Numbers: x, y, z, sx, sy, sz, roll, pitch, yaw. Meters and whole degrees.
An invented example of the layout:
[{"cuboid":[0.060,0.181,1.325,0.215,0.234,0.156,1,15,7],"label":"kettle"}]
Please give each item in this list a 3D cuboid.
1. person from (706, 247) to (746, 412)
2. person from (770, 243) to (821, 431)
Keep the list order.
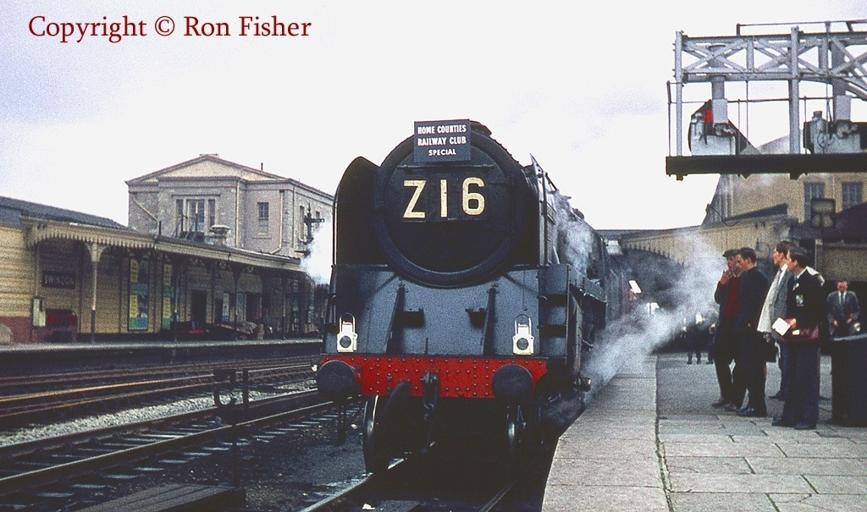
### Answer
[{"cuboid":[5.650,1.411,15.134,0.773,3.099,0.782,6,8,43],"label":"person"},{"cuboid":[6.205,1.351,13.623,0.814,3.041,0.379,-3,-5,23],"label":"person"}]
